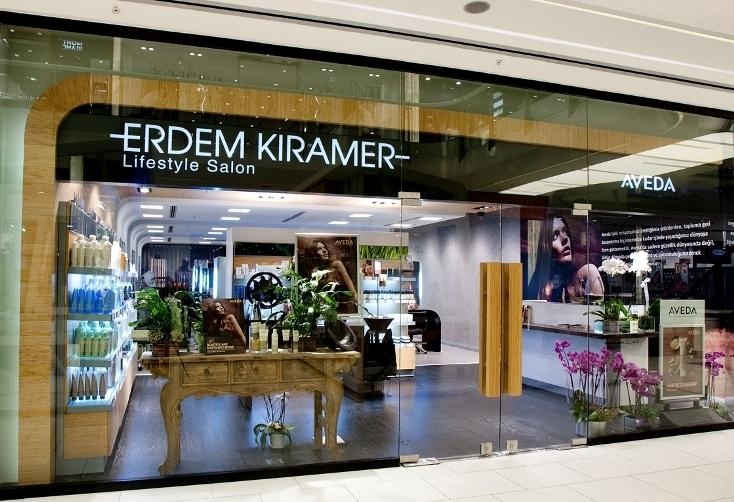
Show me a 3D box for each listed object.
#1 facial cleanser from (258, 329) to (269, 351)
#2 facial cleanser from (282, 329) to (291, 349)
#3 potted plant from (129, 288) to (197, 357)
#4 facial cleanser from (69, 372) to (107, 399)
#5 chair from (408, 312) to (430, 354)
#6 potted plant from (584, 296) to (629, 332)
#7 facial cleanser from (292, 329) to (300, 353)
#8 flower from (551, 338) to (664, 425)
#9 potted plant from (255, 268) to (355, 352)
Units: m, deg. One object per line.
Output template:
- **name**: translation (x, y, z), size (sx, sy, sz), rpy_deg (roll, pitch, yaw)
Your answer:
- **facial cleanser**: translation (-1.062, 0.902, 5.626), size (0.101, 0.244, 0.053), rpy_deg (-2, 15, -17)
- **facial cleanser**: translation (-0.844, 0.915, 5.704), size (0.096, 0.199, 0.046), rpy_deg (0, 14, -11)
- **potted plant**: translation (-2.036, 0.707, 5.585), size (0.655, 0.599, 0.646), rpy_deg (4, -4, -39)
- **facial cleanser**: translation (-2.729, 1.304, 5.300), size (0.285, 0.272, 0.156), rpy_deg (1, 2, -10)
- **chair**: translation (0.917, 1.284, 9.092), size (0.439, 0.636, 0.416), rpy_deg (-3, -8, 18)
- **potted plant**: translation (3.009, 0.819, 6.972), size (0.479, 0.332, 0.472), rpy_deg (3, -8, -16)
- **facial cleanser**: translation (-0.754, 0.940, 5.720), size (0.091, 0.224, 0.063), rpy_deg (1, 14, -9)
- **flower**: translation (2.930, 1.640, 6.873), size (1.204, 0.844, 1.067), rpy_deg (2, -6, -15)
- **potted plant**: translation (-0.671, 0.642, 6.193), size (0.907, 0.846, 0.889), rpy_deg (2, -3, -12)
